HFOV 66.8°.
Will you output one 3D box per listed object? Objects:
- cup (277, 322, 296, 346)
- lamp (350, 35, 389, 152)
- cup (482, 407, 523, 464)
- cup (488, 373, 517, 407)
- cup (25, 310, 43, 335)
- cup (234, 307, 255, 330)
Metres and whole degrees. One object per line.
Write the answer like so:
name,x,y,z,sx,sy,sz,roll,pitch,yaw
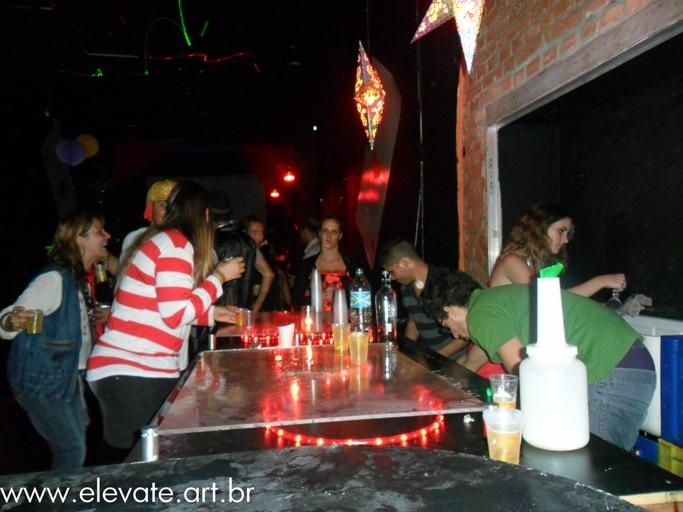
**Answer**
cup,-0.265,0.394,2.588,0.101,0.125,0.104,2,-4,0
lamp,0.182,-1.091,3.325,0.181,0.748,0.486,0,-3,2
cup,0.469,0.494,1.450,0.156,0.152,0.081,2,-3,-32
cup,0.503,0.421,1.630,0.105,0.117,0.108,0,-13,0
cup,-1.557,0.337,2.624,0.069,0.117,0.072,0,-3,0
cup,-0.565,0.377,3.097,0.147,0.147,0.093,0,-1,-6
